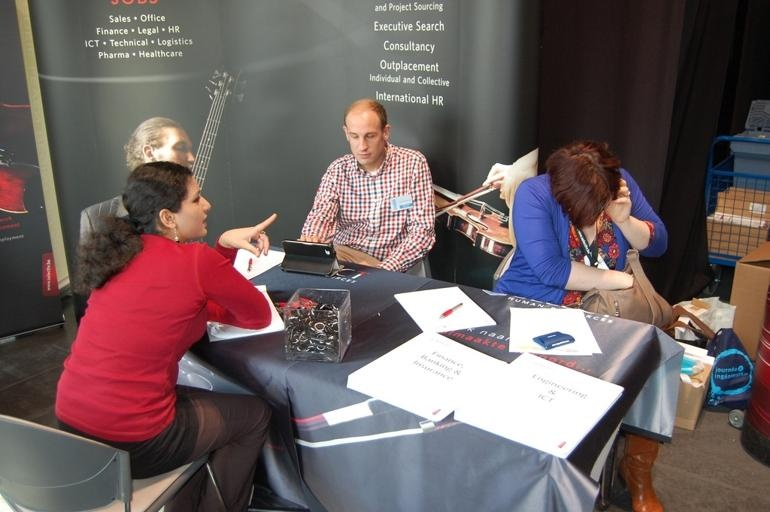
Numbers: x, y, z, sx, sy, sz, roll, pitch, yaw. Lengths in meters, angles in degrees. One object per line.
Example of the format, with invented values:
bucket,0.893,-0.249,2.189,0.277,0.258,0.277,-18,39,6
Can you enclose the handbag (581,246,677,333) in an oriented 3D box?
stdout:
handbag,1.219,0.226,2.795,0.388,0.421,0.447,12,29,-2

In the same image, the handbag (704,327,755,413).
handbag,1.919,0.636,3.041,0.245,0.451,0.104,-1,16,1

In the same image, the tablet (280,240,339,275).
tablet,-0.388,-0.011,2.749,0.254,0.172,0.170,6,23,3

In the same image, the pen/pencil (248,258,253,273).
pen/pencil,-0.700,0.052,2.796,0.014,0.014,0.069,24,19,-18

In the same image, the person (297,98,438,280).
person,-0.118,-0.386,3.280,0.802,1.052,0.906,-3,10,-14
